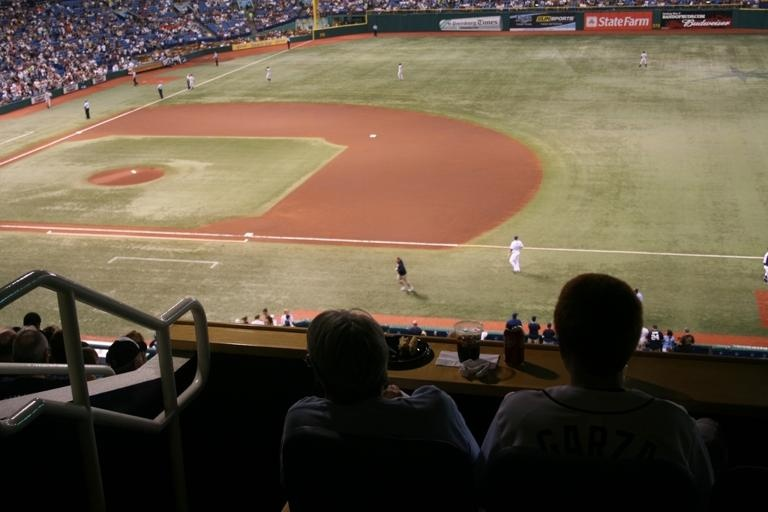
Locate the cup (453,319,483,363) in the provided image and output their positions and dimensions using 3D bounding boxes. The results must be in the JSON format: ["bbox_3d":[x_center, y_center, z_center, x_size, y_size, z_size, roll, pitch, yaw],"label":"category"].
[{"bbox_3d":[0.583,0.579,4.854,0.285,0.269,0.253,1,26,2],"label":"cup"}]

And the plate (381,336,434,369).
[{"bbox_3d":[0.184,0.687,4.854,0.303,0.061,0.275,7,30,10],"label":"plate"}]

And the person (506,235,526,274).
[{"bbox_3d":[3.344,-0.111,17.717,0.301,0.866,0.973,0,16,11],"label":"person"}]
